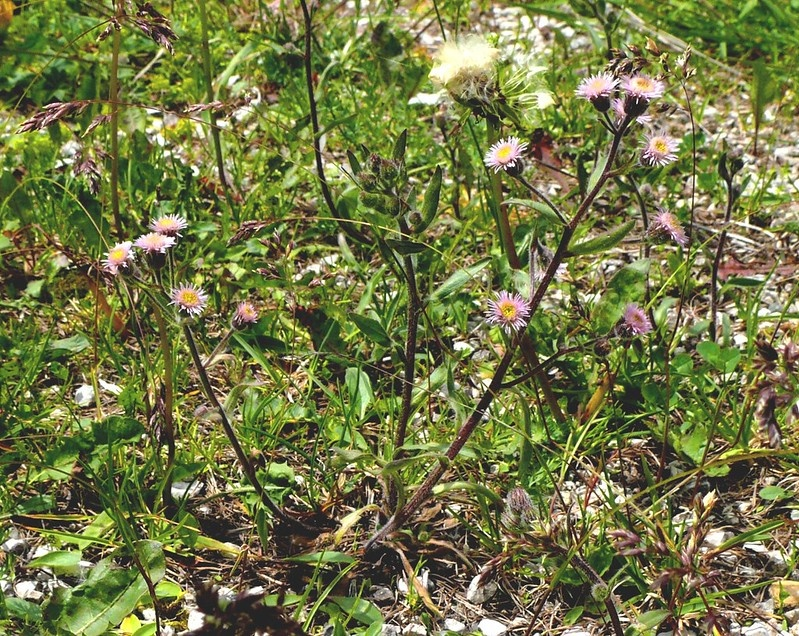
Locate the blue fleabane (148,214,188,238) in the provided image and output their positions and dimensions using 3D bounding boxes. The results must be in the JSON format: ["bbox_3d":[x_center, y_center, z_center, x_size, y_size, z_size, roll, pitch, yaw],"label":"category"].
[{"bbox_3d":[-0.633,-0.251,2.360,0.124,0.065,0.128,10,13,41],"label":"blue fleabane"}]

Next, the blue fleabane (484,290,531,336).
[{"bbox_3d":[0.265,-0.020,2.108,0.103,0.106,0.202,3,37,7],"label":"blue fleabane"}]

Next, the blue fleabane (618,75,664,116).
[{"bbox_3d":[0.577,-0.545,2.050,0.086,0.073,0.102,3,30,9],"label":"blue fleabane"}]

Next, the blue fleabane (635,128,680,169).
[{"bbox_3d":[0.672,-0.417,2.239,0.099,0.050,0.121,-11,58,-5],"label":"blue fleabane"}]

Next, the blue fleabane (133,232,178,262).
[{"bbox_3d":[-0.594,-0.186,2.094,0.064,0.034,0.074,-8,38,-12],"label":"blue fleabane"}]

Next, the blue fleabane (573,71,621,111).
[{"bbox_3d":[0.485,-0.568,2.126,0.090,0.102,0.153,4,37,10],"label":"blue fleabane"}]

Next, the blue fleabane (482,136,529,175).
[{"bbox_3d":[0.274,-0.396,2.138,0.093,0.043,0.111,-21,59,27],"label":"blue fleabane"}]
